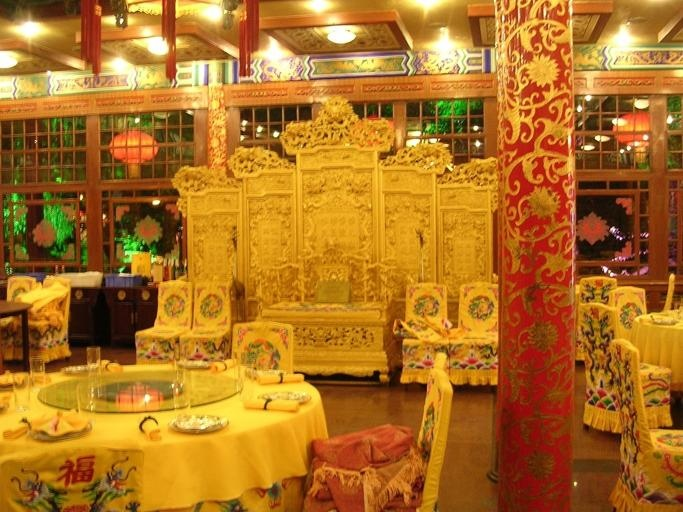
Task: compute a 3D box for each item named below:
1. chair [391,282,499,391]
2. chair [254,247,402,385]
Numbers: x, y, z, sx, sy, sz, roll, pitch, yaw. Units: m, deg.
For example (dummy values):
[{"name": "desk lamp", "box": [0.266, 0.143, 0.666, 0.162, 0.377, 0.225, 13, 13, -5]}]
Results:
[{"name": "chair", "box": [1.127, 0.875, 7.005, 1.463, 1.441, 0.949, 0, -1, 7]}, {"name": "chair", "box": [-0.142, 0.700, 7.480, 1.606, 1.760, 1.413, 0, 0, 9]}]
